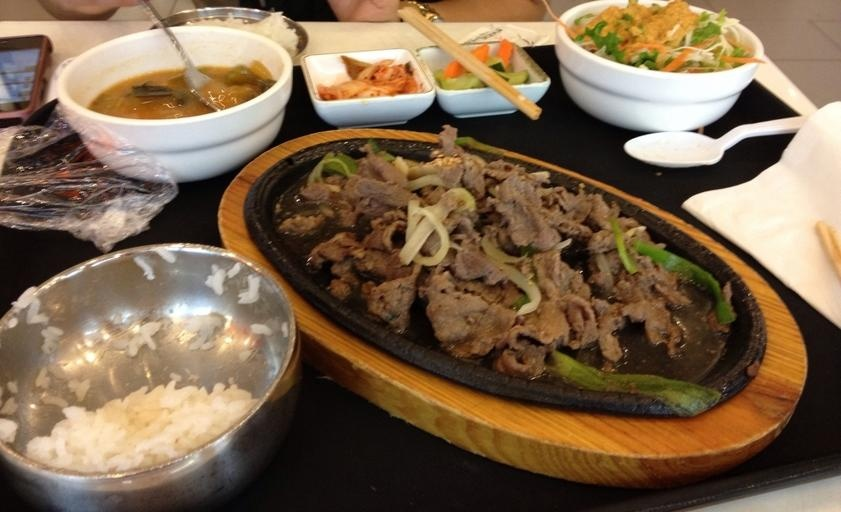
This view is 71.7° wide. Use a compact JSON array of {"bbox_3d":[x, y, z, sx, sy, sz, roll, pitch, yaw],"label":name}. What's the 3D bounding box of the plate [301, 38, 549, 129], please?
[{"bbox_3d":[0.032,-1.040,3.838,1.506,0.306,0.640,-6,51,-10],"label":"plate"}]
